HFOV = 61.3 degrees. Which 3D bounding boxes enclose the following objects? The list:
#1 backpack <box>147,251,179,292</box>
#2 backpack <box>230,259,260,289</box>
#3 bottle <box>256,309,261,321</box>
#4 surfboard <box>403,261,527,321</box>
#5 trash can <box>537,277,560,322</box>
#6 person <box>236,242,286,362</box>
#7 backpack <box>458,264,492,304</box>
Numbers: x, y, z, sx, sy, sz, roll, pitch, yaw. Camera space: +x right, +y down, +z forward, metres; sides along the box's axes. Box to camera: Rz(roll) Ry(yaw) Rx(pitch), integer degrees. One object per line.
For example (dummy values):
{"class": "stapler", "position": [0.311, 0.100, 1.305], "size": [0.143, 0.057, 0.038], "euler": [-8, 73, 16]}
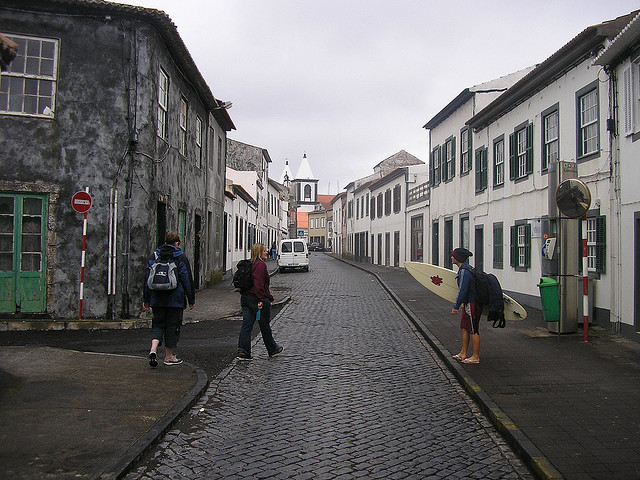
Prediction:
{"class": "backpack", "position": [-2.484, 0.493, 8.548], "size": [0.462, 0.722, 0.368], "euler": [3, -17, -12]}
{"class": "backpack", "position": [-1.365, 0.623, 9.605], "size": [0.278, 0.613, 0.393], "euler": [7, -9, -32]}
{"class": "bottle", "position": [-1.072, 1.280, 9.372], "size": [0.078, 0.171, 0.047], "euler": [1, 0, 31]}
{"class": "surfboard", "position": [3.403, 1.183, 12.428], "size": [0.258, 0.743, 3.348], "euler": [-9, 29, -32]}
{"class": "trash can", "position": [4.734, 1.227, 11.209], "size": [0.423, 0.754, 0.334], "euler": [1, 0, 25]}
{"class": "person", "position": [-1.109, 1.078, 9.556], "size": [0.774, 2.022, 0.488], "euler": [0, 0, -17]}
{"class": "backpack", "position": [2.543, 0.801, 8.913], "size": [0.454, 0.697, 0.683], "euler": [-7, 4, -17]}
